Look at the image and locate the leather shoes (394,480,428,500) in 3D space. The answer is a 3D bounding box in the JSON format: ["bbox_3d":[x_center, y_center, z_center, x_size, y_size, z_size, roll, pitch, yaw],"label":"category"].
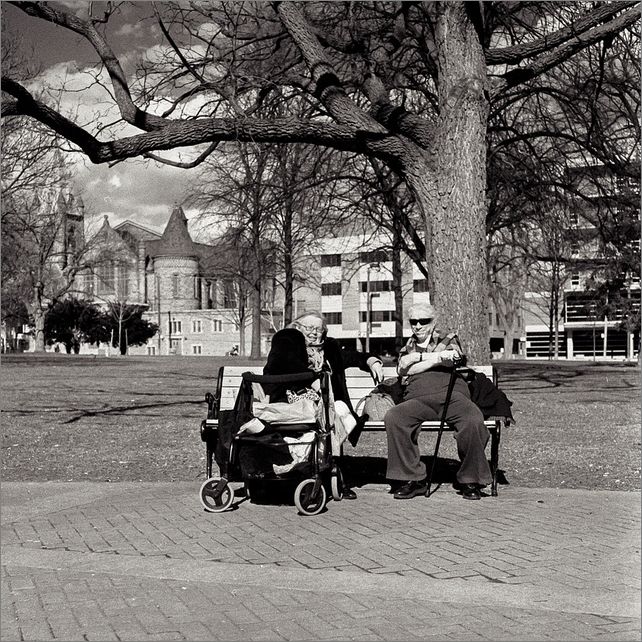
[{"bbox_3d":[0.769,1.444,10.589,0.356,0.157,0.118,5,-9,-36],"label":"leather shoes"}]

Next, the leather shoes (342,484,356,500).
[{"bbox_3d":[0.239,1.469,10.766,0.081,0.100,0.235,-1,-14,1],"label":"leather shoes"}]

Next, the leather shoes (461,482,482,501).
[{"bbox_3d":[1.262,1.440,10.575,0.153,0.131,0.223,-1,-2,7],"label":"leather shoes"}]

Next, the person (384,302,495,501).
[{"bbox_3d":[0.916,0.644,10.842,0.823,1.702,1.113,-2,-5,-11],"label":"person"}]
